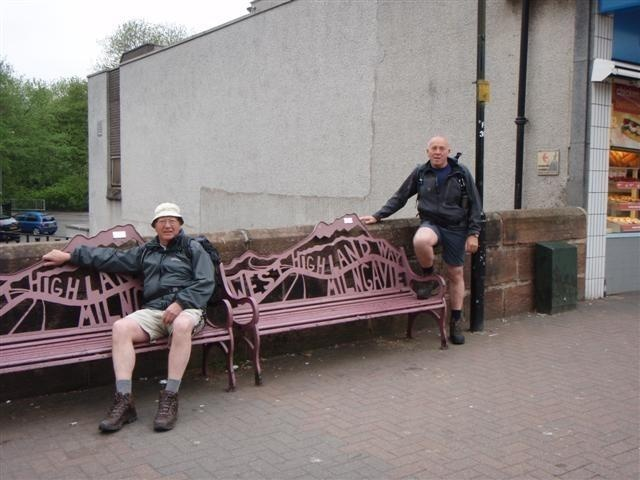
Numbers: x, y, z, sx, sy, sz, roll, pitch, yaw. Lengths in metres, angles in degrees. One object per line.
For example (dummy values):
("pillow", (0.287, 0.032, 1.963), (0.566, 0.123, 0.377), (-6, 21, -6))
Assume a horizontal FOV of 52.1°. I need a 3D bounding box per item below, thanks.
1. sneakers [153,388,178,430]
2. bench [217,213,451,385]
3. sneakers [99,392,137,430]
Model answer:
("sneakers", (-1.370, 1.484, 5.768), (0.193, 0.286, 0.320), (-1, 13, -6))
("bench", (0.190, 0.567, 7.292), (2.595, 1.631, 0.864), (-4, 7, -37))
("sneakers", (-1.757, 1.481, 5.736), (0.163, 0.286, 0.410), (8, 14, 29))
